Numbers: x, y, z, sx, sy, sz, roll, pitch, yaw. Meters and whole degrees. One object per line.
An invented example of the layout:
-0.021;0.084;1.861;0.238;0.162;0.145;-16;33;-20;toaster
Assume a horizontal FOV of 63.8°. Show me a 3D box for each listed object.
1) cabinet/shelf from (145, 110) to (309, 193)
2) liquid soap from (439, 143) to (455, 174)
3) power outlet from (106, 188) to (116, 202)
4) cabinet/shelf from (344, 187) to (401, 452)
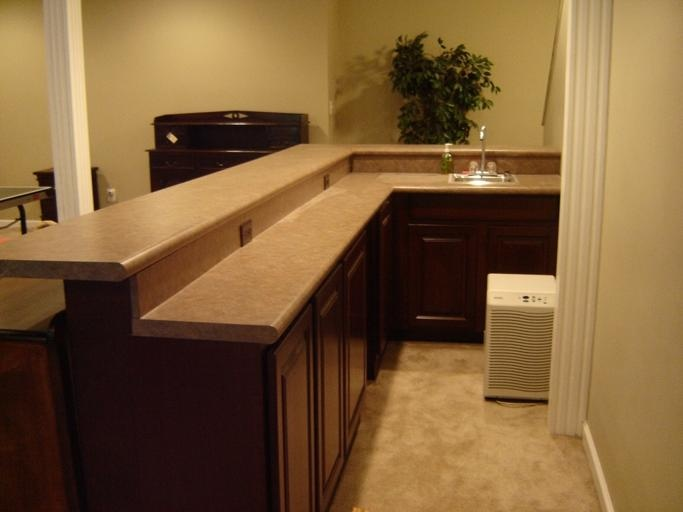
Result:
-1.347;-1.205;6.258;1.834;0.868;0.491;2;14;11;cabinet/shelf
0.801;-0.741;4.155;0.093;0.208;0.252;2;14;12;liquid soap
-2.789;-0.739;6.657;0.126;0.172;0.025;2;14;11;power outlet
0.159;0.334;2.954;0.361;0.899;1.063;-3;29;11;cabinet/shelf
